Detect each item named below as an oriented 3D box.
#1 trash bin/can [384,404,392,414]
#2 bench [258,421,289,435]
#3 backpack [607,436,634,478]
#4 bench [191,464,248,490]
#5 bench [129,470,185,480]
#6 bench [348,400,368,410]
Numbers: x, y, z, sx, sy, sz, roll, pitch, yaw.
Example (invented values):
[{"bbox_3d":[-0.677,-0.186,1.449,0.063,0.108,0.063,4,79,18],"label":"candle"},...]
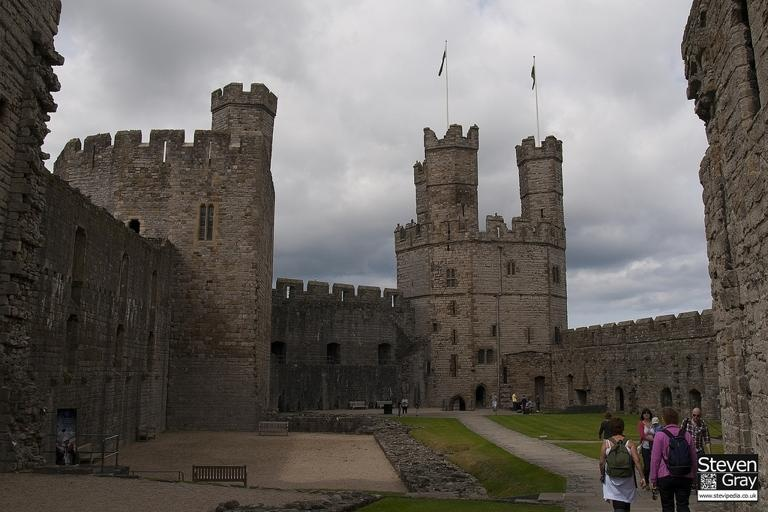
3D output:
[{"bbox_3d":[0.243,8.808,42.722,0.665,0.565,0.449,0,3,9],"label":"trash bin/can"},{"bbox_3d":[-5.154,7.977,34.585,1.570,0.679,1.352,5,-15,-28],"label":"bench"},{"bbox_3d":[5.037,4.274,15.777,0.583,0.741,0.440,-12,-10,43],"label":"backpack"},{"bbox_3d":[-5.028,6.670,22.696,1.513,0.577,1.894,2,-14,-15],"label":"bench"},{"bbox_3d":[-7.090,6.924,23.650,1.408,0.287,2.340,8,-16,-35],"label":"bench"},{"bbox_3d":[-1.716,9.287,46.513,0.996,0.646,1.743,-6,-14,18],"label":"bench"}]
